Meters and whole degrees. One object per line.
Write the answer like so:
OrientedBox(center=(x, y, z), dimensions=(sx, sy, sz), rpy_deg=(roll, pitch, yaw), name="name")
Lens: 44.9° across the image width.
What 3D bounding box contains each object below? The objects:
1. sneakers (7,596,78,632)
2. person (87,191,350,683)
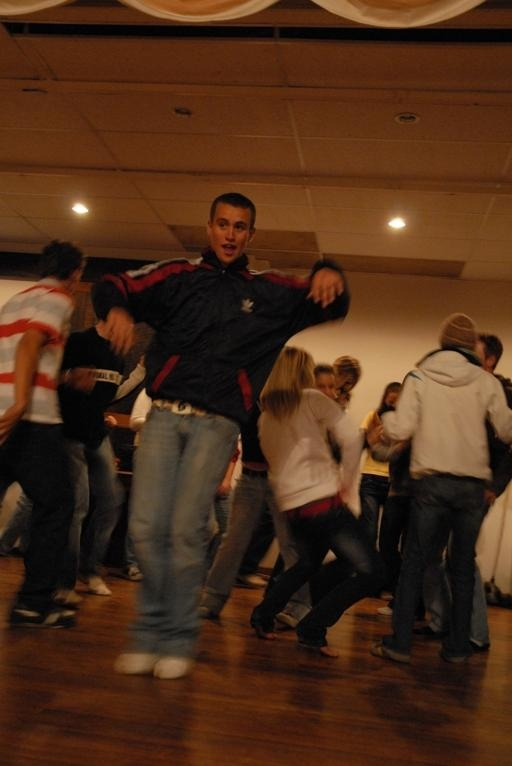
OrientedBox(center=(-0.450, 0.504, 1.342), dimensions=(0.155, 0.046, 0.134), rpy_deg=(11, -11, -31), name="sneakers")
OrientedBox(center=(-0.082, 0.066, 1.119), dimensions=(0.508, 0.887, 0.313), rpy_deg=(7, -12, -10), name="person")
